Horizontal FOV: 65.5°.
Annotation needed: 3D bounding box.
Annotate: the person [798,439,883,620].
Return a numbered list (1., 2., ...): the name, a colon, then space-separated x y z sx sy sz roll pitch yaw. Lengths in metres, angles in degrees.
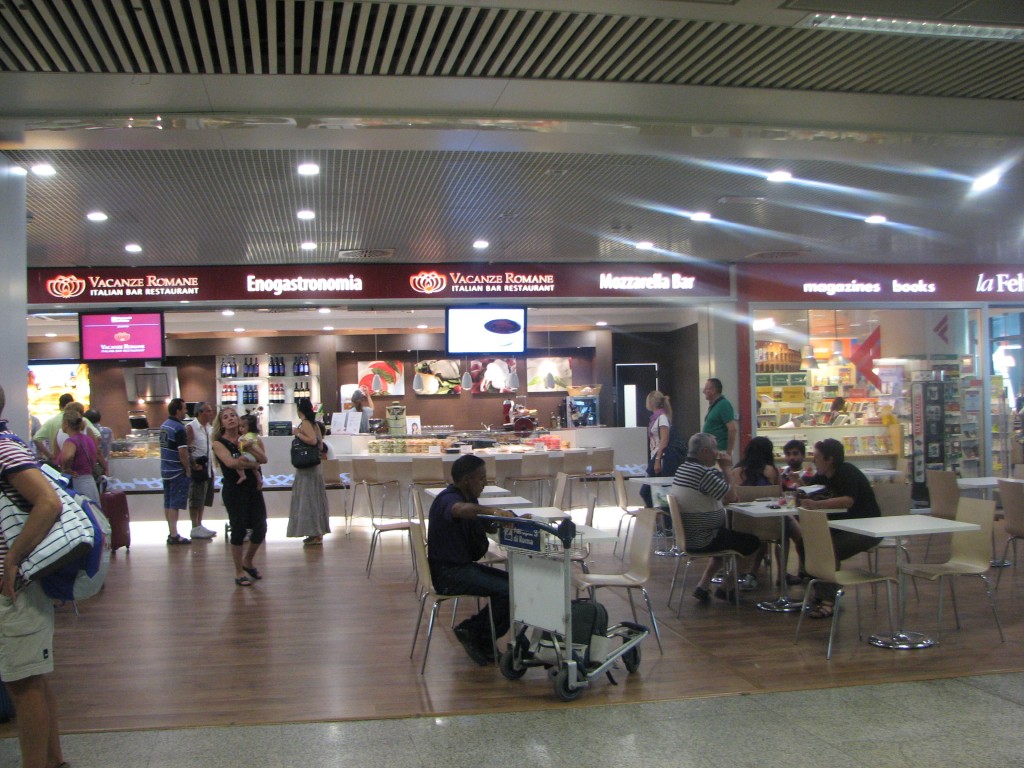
1. person: 2.727 1.127 6.786 0.878 1.267 0.603 -3 7 -16

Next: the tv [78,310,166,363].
1. tv: -4.816 -0.601 9.849 0.808 0.440 0.093 -1 -2 -4

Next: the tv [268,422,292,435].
1. tv: -4.176 0.796 14.342 0.455 0.355 0.300 0 2 -5

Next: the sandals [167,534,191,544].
1. sandals: -4.337 2.017 10.415 0.323 0.111 0.108 0 1 -6

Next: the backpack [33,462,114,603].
1. backpack: -2.290 0.752 4.096 0.448 0.649 0.509 4 4 -25

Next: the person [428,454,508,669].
1. person: -0.251 1.235 5.564 0.616 1.472 0.469 -1 1 35

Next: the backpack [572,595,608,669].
1. backpack: 0.503 1.588 5.166 0.332 0.403 0.157 -2 1 -27

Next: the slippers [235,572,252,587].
1. slippers: -2.708 1.977 8.085 0.081 0.065 0.206 2 -5 -30

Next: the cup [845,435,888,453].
1. cup: 5.557 0.946 12.472 0.658 0.258 0.323 -1 1 -2

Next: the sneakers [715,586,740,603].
1. sneakers: 1.932 1.839 7.152 0.198 0.077 0.241 0 2 8

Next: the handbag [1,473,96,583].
1. handbag: -2.264 0.713 3.902 0.358 0.497 0.362 -3 1 -41

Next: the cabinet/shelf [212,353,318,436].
1. cabinet/shelf: -5.209 0.398 16.551 0.754 1.973 2.461 -13 9 -42

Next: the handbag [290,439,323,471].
1. handbag: -2.431 0.836 9.495 0.458 0.442 0.208 -4 -7 -15
